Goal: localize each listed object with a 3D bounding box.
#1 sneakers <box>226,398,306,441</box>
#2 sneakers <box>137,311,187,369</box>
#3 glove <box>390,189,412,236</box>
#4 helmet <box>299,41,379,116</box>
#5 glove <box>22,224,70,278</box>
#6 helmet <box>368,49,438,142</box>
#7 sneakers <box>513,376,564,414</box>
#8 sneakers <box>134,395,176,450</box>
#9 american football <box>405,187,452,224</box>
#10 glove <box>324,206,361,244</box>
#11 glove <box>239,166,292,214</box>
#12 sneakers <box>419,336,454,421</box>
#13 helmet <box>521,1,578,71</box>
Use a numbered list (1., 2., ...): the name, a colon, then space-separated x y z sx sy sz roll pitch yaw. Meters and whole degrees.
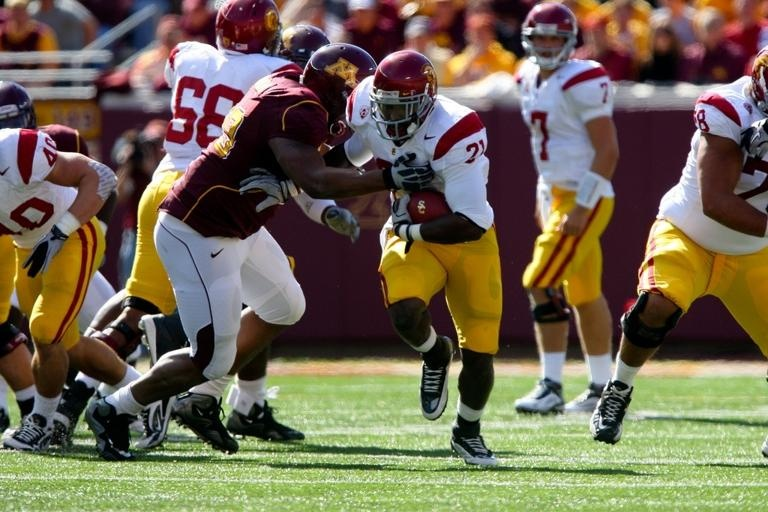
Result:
1. sneakers: -0.729 1.002 5.470 0.566 0.267 0.186 9 -8 -6
2. sneakers: -1.202 0.465 4.962 0.257 0.298 0.265 0 2 -13
3. glove: 0.071 -0.221 4.561 0.079 0.194 0.147 9 -9 -28
4. helmet: -0.199 -0.949 4.794 0.378 0.367 0.308 31 14 -8
5. glove: -1.718 -0.019 4.683 0.175 0.299 0.117 47 11 14
6. helmet: 0.110 -0.780 4.465 0.321 0.398 0.420 9 40 25
7. sneakers: 1.065 0.971 6.244 0.361 0.229 0.155 0 2 -23
8. sneakers: -1.241 0.927 4.945 0.178 0.386 0.128 11 12 -16
9. american football: 0.220 -0.245 4.482 0.119 0.171 0.193 -1 2 -43
10. glove: -0.202 -0.169 4.849 0.196 0.195 0.372 0 2 -25
11. glove: -0.565 -0.329 4.485 0.243 0.184 0.092 -24 -7 3
12. sneakers: 0.278 0.657 4.826 0.161 0.459 0.185 1 2 3
13. helmet: 1.114 -1.510 6.056 0.365 0.395 0.454 1 51 20
